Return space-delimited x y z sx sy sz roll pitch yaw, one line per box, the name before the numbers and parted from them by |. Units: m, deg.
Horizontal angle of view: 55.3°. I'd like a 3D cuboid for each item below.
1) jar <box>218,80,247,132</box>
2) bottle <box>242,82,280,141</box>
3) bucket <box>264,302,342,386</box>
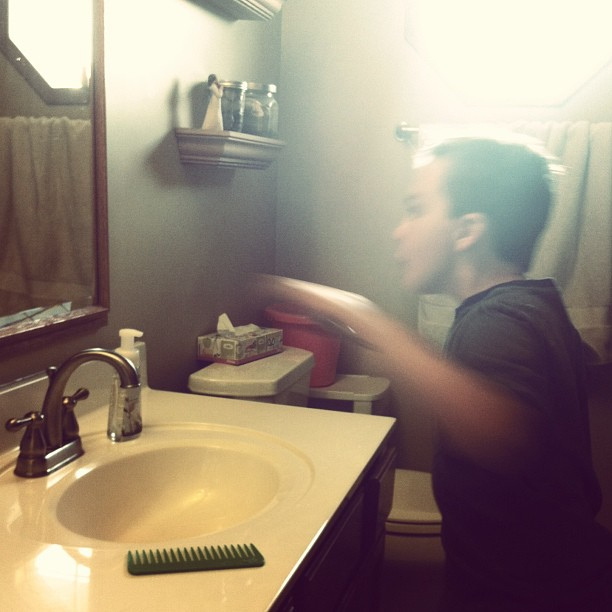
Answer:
jar | -0.184 -0.474 1.382 0.072 0.124 0.076 10 9 -2
bottle | -0.084 -0.480 1.445 0.082 0.136 0.130 2 4 7
bucket | -0.017 0.146 1.804 0.171 0.252 0.205 4 15 -26
